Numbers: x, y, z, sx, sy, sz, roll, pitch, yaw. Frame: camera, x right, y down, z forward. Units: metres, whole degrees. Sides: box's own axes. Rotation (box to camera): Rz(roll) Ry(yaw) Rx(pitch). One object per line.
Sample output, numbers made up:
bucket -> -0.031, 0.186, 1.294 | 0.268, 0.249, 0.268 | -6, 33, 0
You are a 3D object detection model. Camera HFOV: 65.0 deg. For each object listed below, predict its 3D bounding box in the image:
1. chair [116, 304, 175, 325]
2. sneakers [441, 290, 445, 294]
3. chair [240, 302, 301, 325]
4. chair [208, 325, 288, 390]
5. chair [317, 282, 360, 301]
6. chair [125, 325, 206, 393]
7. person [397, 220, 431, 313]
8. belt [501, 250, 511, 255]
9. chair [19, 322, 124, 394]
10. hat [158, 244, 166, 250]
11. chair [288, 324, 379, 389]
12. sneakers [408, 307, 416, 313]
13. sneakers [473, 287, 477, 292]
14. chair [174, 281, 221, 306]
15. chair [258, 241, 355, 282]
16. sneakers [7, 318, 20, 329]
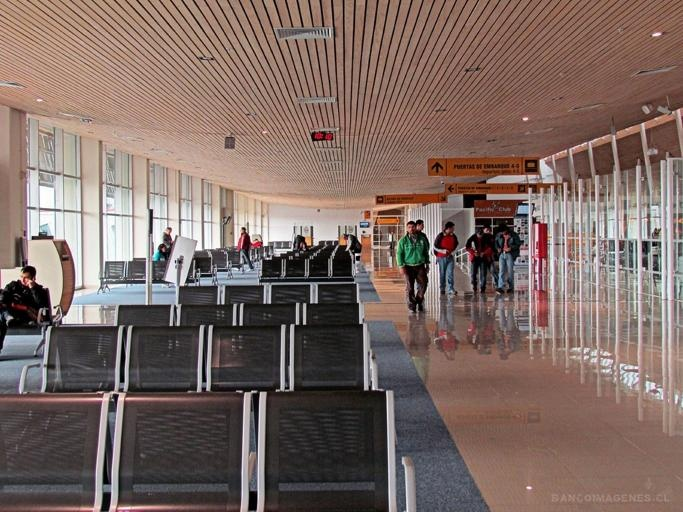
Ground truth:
chair -> -2.031, 0.616, 5.558 | 0.405, 0.251, 0.280 | 0, -32, -3
sneakers -> 2.691, 0.949, 14.150 | 0.137, 0.117, 0.071 | -1, -7, 1
chair -> -0.751, 0.594, 5.552 | 0.581, 0.202, 0.159 | 0, -1, -6
chair -> -0.707, 0.773, 4.523 | 0.891, 0.631, 0.485 | 0, -2, -1
chair -> -0.051, 0.514, 7.644 | 0.575, 0.239, 0.325 | 0, -1, -1
chair -> -1.395, 0.802, 4.550 | 0.716, 0.598, 0.534 | 0, 4, -4
person -> 1.517, 0.230, 11.229 | 0.592, 1.908, 0.854 | -1, -1, 20
belt -> 4.451, -0.085, 14.402 | 0.224, 0.091, 0.067 | -1, -1, 15
chair -> -2.269, 0.851, 4.593 | 0.769, 0.779, 0.633 | 0, -4, -4
hat -> -5.800, -0.289, 17.300 | 0.225, 0.265, 0.378 | 0, -1, -19
chair -> -0.038, 0.703, 4.504 | 0.900, 0.605, 0.490 | -1, 0, -1
sneakers -> 1.520, 1.154, 11.413 | 0.109, 0.076, 0.114 | -4, -4, 39
sneakers -> 3.634, 0.910, 14.505 | 0.097, 0.118, 0.044 | -3, 4, 8
chair -> -1.937, 0.522, 7.188 | 0.605, 0.384, 0.330 | 1, 2, -3
chair -> -0.995, 0.394, 15.520 | 2.687, 0.698, 0.883 | 0, -1, -2
sneakers -> -4.900, 1.000, 7.993 | 0.157, 0.146, 0.079 | 0, -1, -23
